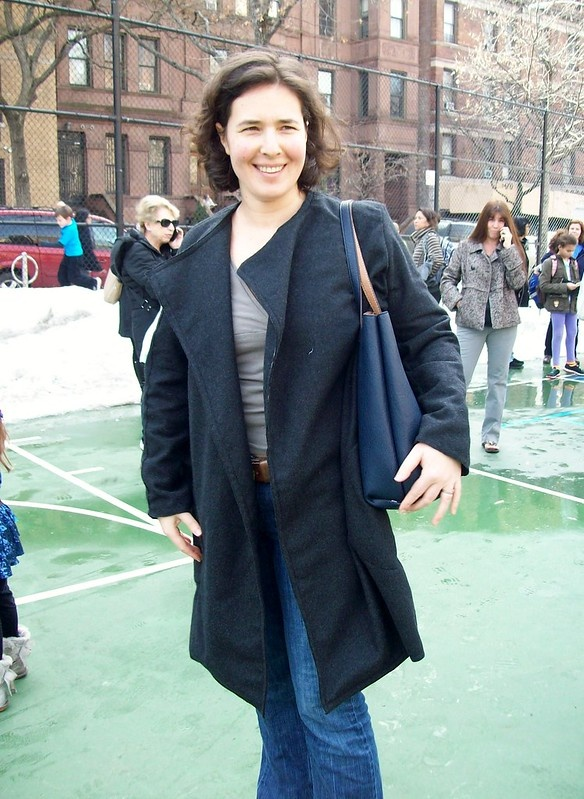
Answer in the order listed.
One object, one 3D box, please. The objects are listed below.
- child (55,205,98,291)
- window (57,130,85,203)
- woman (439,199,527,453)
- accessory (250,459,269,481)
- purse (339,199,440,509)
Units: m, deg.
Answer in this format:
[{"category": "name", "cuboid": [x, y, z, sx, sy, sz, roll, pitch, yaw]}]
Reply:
[{"category": "child", "cuboid": [-3.991, -2.782, 11.420, 0.688, 1.525, 0.902, -4, 8, -18]}, {"category": "window", "cuboid": [-8.522, -8.996, 24.139, 1.071, 2.780, 0.466, -4, 8, -21]}, {"category": "woman", "cuboid": [1.953, -0.740, 6.399, 0.867, 2.436, 0.728, 3, 11, 24]}, {"category": "accessory", "cuboid": [-0.062, 0.143, 1.247, 0.035, 0.046, 0.024, 1, 51, 2]}, {"category": "purse", "cuboid": [0.172, -0.092, 1.169, 0.136, 0.589, 0.257, -2, 8, -3]}]
